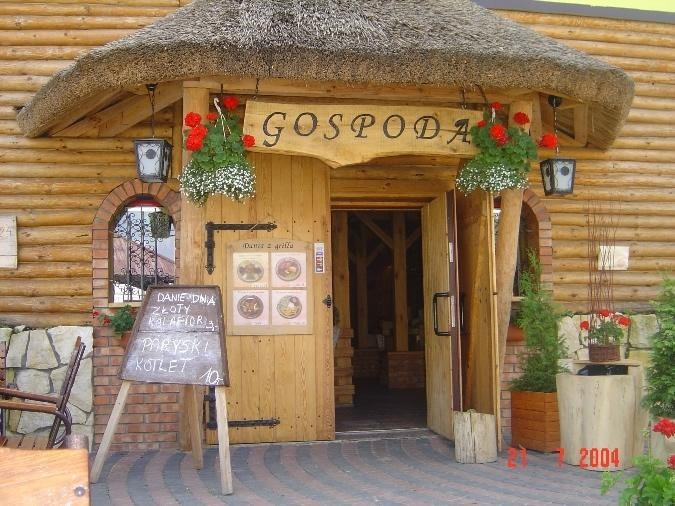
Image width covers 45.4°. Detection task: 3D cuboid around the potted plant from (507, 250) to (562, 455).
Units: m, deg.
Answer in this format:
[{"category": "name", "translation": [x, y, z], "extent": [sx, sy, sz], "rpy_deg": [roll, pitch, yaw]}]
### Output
[{"category": "potted plant", "translation": [2.293, 1.225, 9.760], "extent": [0.802, 2.325, 0.646], "rpy_deg": [6, -7, 2]}]

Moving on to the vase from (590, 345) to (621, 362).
[{"category": "vase", "translation": [2.995, 1.128, 9.017], "extent": [0.275, 0.148, 0.208], "rpy_deg": [0, -7, 2]}]

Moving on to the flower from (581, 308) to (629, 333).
[{"category": "flower", "translation": [3.322, 0.856, 10.063], "extent": [0.549, 0.236, 0.409], "rpy_deg": [-7, 4, -29]}]

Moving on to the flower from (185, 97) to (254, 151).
[{"category": "flower", "translation": [-1.354, -1.450, 9.135], "extent": [0.765, 0.630, 0.572], "rpy_deg": [-2, 5, -10]}]

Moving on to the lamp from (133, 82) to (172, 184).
[{"category": "lamp", "translation": [-2.192, -1.404, 9.550], "extent": [0.411, 1.150, 0.961], "rpy_deg": [-2, 5, -11]}]

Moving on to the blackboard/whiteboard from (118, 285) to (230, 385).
[{"category": "blackboard/whiteboard", "translation": [-1.678, 0.887, 8.468], "extent": [1.429, 1.147, 0.159], "rpy_deg": [2, -22, -3]}]
